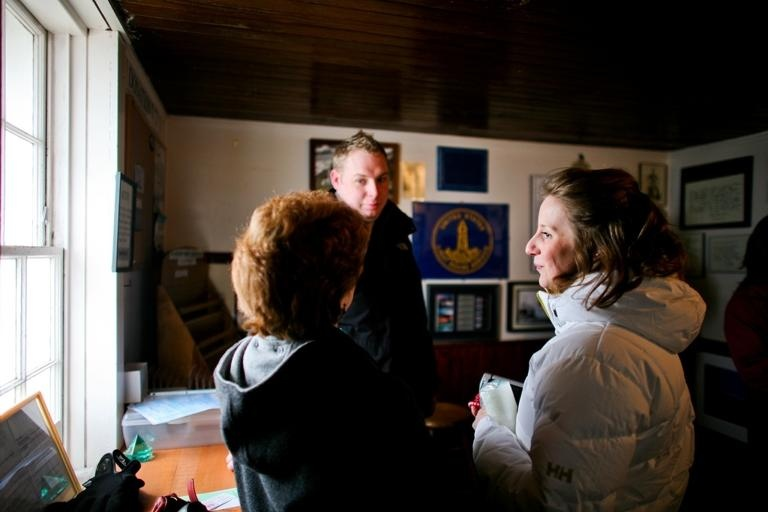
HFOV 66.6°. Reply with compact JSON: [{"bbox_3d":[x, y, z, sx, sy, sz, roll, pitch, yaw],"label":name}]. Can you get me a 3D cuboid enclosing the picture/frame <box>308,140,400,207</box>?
[{"bbox_3d":[-0.155,-0.434,3.014,0.576,0.520,0.029,0,-9,-7],"label":"picture/frame"}]
